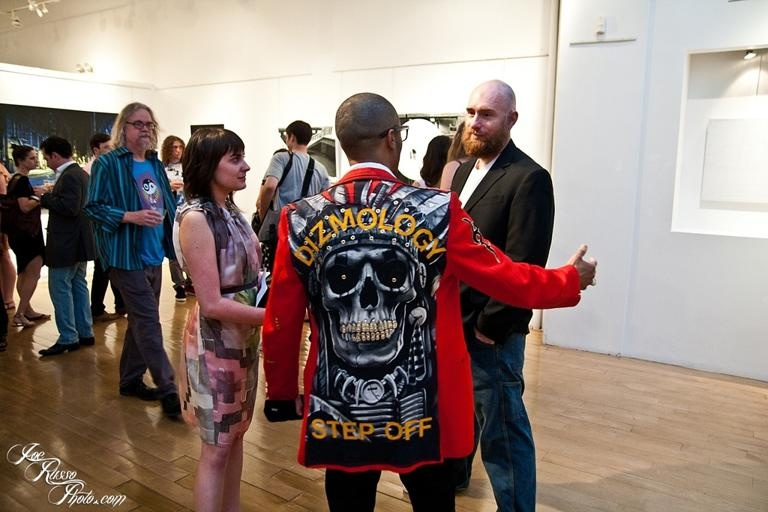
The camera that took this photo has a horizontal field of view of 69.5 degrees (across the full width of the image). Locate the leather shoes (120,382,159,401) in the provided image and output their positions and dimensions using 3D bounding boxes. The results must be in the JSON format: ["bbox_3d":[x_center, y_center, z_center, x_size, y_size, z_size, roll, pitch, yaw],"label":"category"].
[{"bbox_3d":[-2.259,1.224,5.164,0.396,0.189,0.180,1,1,3],"label":"leather shoes"}]

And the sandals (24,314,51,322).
[{"bbox_3d":[-4.320,0.754,6.894,0.219,0.062,0.086,-5,10,-34],"label":"sandals"}]

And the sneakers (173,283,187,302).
[{"bbox_3d":[-2.892,0.540,7.856,0.160,0.252,0.241,1,-23,-13],"label":"sneakers"}]

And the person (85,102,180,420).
[{"bbox_3d":[-2.122,0.006,4.964,0.840,2.666,0.538,4,9,17],"label":"person"}]

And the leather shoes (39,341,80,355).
[{"bbox_3d":[-3.481,0.960,5.986,0.431,0.200,0.145,-1,3,-36],"label":"leather shoes"}]

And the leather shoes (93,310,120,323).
[{"bbox_3d":[-3.511,0.735,6.972,0.260,0.118,0.119,-11,17,-33],"label":"leather shoes"}]

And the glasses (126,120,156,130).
[{"bbox_3d":[-2.124,-1.144,4.833,0.238,0.071,0.099,-4,11,-29],"label":"glasses"}]

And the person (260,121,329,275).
[{"bbox_3d":[-1.038,-0.514,6.551,0.809,2.085,0.618,-2,28,-22],"label":"person"}]
